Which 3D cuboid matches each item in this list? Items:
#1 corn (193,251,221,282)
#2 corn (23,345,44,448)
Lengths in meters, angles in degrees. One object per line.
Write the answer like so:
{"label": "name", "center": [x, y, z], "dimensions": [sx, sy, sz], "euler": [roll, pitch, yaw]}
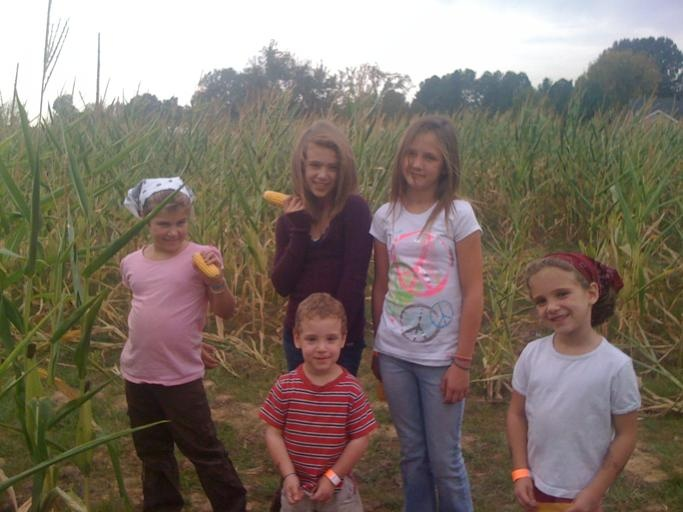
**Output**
{"label": "corn", "center": [-0.773, 0.057, 3.052], "dimensions": [0.179, 0.095, 0.067], "euler": [42, -13, 18]}
{"label": "corn", "center": [-1.441, 0.667, 2.472], "dimensions": [0.070, 0.569, 0.090], "euler": [-26, -26, 29]}
